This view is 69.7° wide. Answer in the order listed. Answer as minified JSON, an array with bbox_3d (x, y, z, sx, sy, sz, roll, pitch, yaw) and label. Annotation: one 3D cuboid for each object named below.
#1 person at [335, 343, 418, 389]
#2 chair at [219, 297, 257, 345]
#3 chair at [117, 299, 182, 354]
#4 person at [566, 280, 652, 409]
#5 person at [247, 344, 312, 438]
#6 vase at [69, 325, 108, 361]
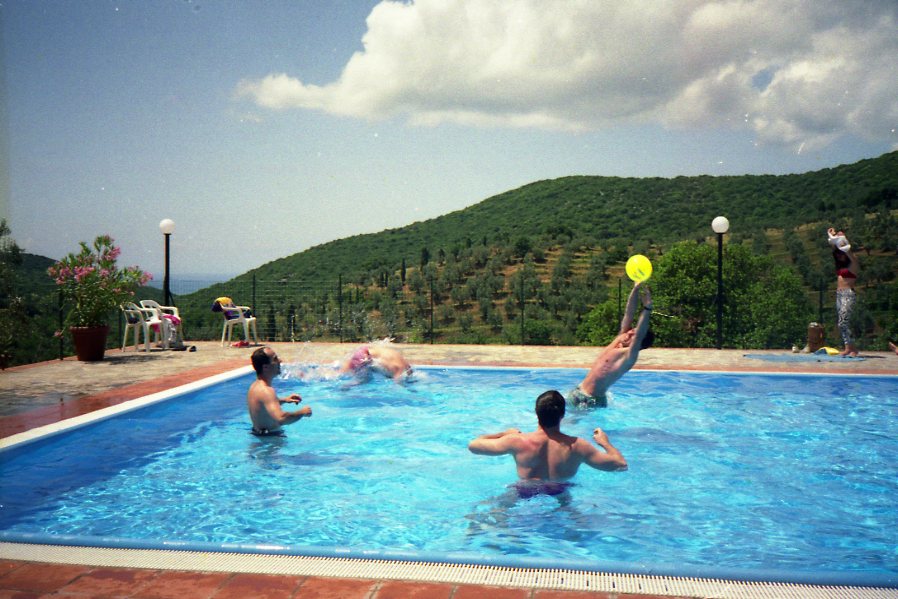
[{"bbox_3d":[-1.333,1.223,11.594,1.336,0.515,0.705,-1,13,-8],"label":"person"},{"bbox_3d":[-5.119,0.517,15.679,1.014,1.086,0.979,1,1,38],"label":"chair"},{"bbox_3d":[-6.584,0.548,14.192,0.726,0.958,1.408,-1,3,8],"label":"chair"},{"bbox_3d":[2.502,0.689,9.741,1.080,2.052,0.855,7,15,27],"label":"person"},{"bbox_3d":[-2.411,1.287,8.962,0.935,1.269,0.475,10,16,35],"label":"person"},{"bbox_3d":[-7.011,0.855,12.514,0.698,0.605,0.686,-1,-4,-2],"label":"vase"}]
